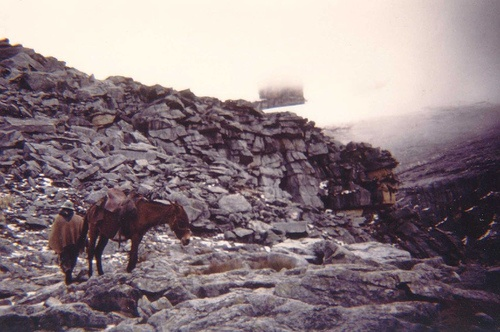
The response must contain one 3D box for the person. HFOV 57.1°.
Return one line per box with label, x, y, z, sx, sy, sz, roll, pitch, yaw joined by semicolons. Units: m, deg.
person;-7.505;3.136;18.882;1.361;3.386;0.599;-7;-8;-21
